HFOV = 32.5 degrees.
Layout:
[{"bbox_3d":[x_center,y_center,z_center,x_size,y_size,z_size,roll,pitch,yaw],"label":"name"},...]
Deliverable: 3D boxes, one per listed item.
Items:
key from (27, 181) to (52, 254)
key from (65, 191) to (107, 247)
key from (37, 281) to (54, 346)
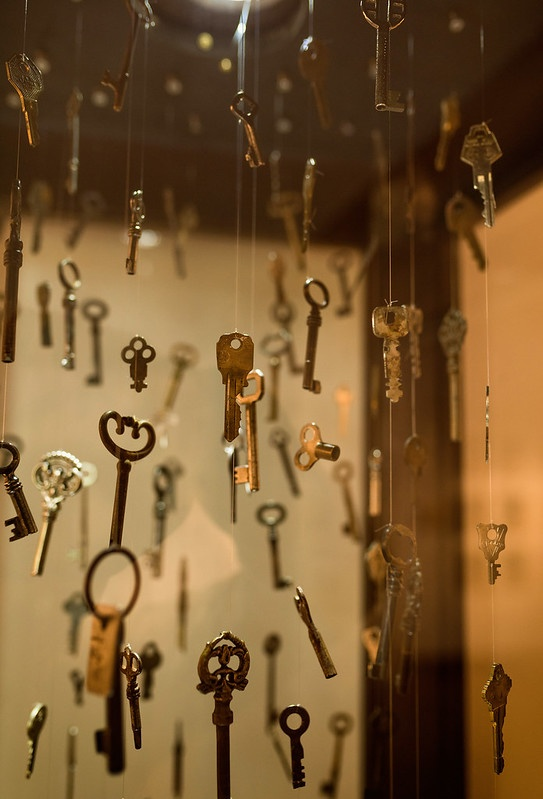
[{"bbox_3d":[-0.739,-0.588,2.955,0.070,0.235,0.066,-2,-8,36],"label":"key"},{"bbox_3d":[-0.600,-0.584,3.002,0.115,0.196,0.032,4,-6,-13],"label":"key"},{"bbox_3d":[-0.669,-0.257,2.737,0.021,0.172,0.041,-1,5,9],"label":"key"}]
